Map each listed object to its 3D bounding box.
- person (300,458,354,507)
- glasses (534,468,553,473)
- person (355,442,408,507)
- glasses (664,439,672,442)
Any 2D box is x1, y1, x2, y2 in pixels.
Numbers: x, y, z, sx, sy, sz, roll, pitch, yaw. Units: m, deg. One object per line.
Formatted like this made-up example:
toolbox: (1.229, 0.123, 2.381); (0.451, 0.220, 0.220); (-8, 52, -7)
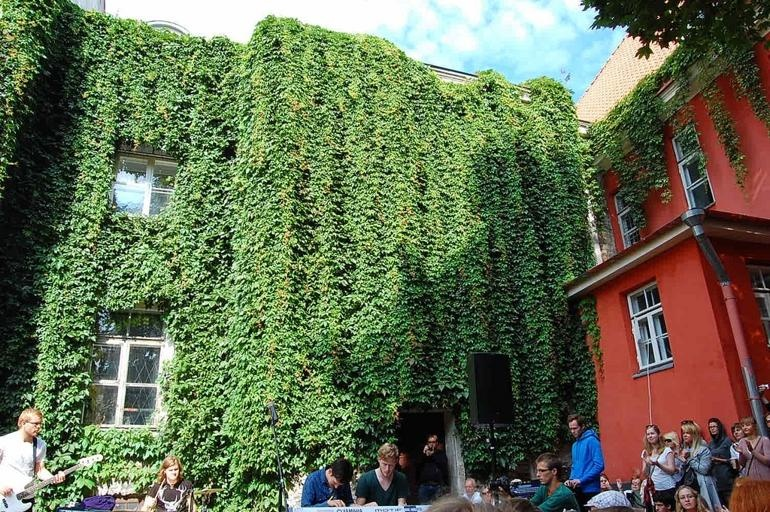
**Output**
person: (-0.896, 3.750, 9.856); (0.788, 0.705, 0.930); (11, -25, -27)
glasses: (2.494, 3.342, 9.276); (0.226, 0.071, 0.109); (-16, -26, 32)
person: (-0.060, 3.491, 9.511); (0.853, 0.897, 0.486); (1, -22, -3)
glasses: (5.333, 3.465, 11.136); (0.084, 0.029, 0.067); (18, -29, -25)
